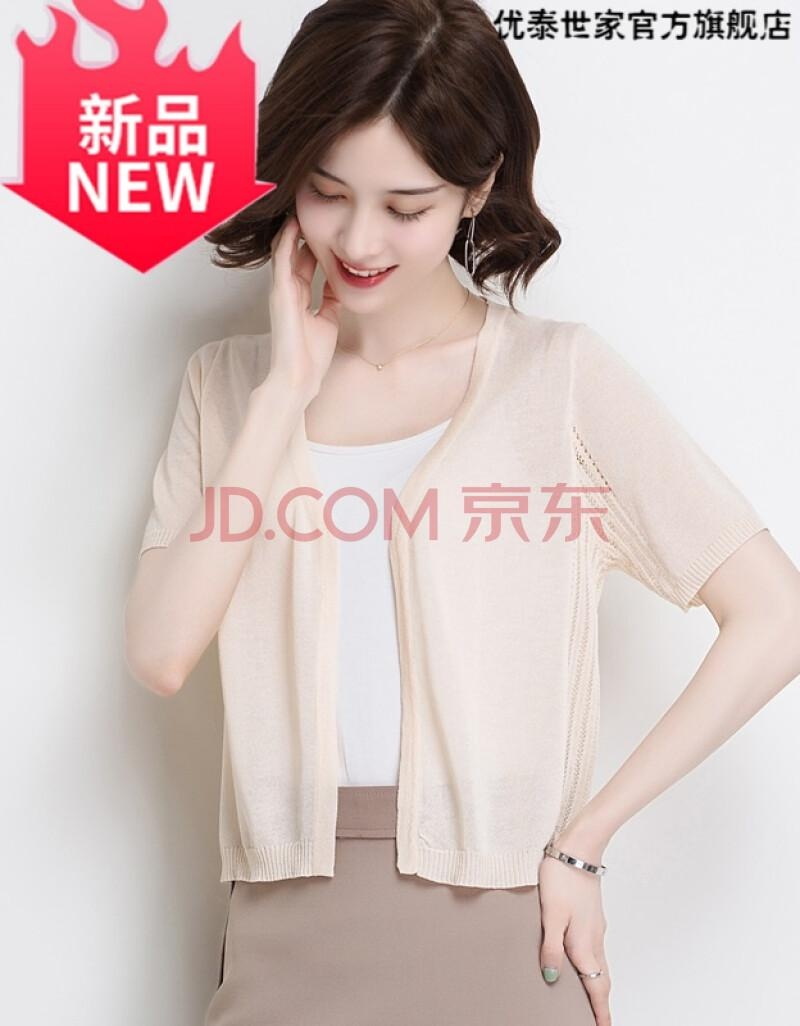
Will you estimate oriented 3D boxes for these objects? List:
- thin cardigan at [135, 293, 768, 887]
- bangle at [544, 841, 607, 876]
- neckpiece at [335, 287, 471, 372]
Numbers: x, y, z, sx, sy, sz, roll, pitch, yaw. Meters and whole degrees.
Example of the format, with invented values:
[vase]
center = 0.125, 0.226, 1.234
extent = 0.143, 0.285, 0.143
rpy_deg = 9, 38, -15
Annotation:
[thin cardigan]
center = 0.096, 0.087, 1.262
extent = 0.932, 0.744, 0.308
rpy_deg = -1, -8, 8
[bangle]
center = 0.190, 0.394, 1.147
extent = 0.049, 0.011, 0.042
rpy_deg = 26, -4, -31
[neckpiece]
center = 0.004, -0.254, 1.301
extent = 0.135, 0.034, 0.098
rpy_deg = -28, 10, -10
